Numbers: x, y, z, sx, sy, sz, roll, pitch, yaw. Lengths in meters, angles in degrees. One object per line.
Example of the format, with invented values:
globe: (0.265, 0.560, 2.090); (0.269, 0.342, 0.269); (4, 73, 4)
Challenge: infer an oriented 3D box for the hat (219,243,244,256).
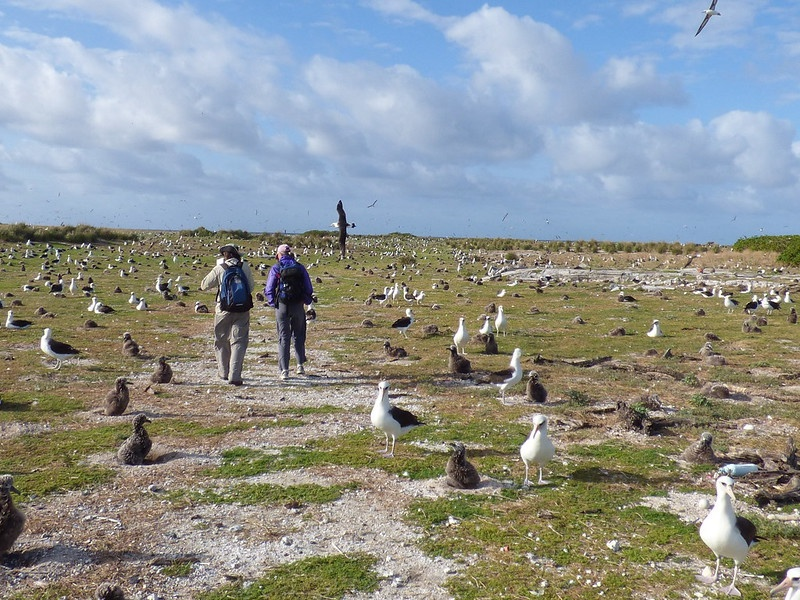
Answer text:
hat: (-4.433, -1.391, 17.672); (0.698, 0.251, 0.688); (2, 2, 39)
